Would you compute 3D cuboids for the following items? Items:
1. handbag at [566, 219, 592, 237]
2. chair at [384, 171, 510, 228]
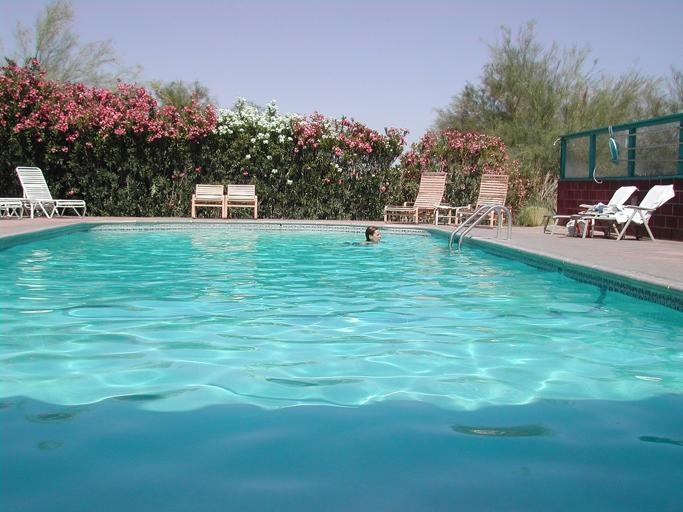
[{"bbox_3d":[5.543,-0.598,11.368,0.553,0.428,0.426,14,-9,-35],"label":"handbag"},{"bbox_3d":[3.330,-1.774,15.311,1.994,1.632,3.752,-7,12,-44],"label":"chair"}]
